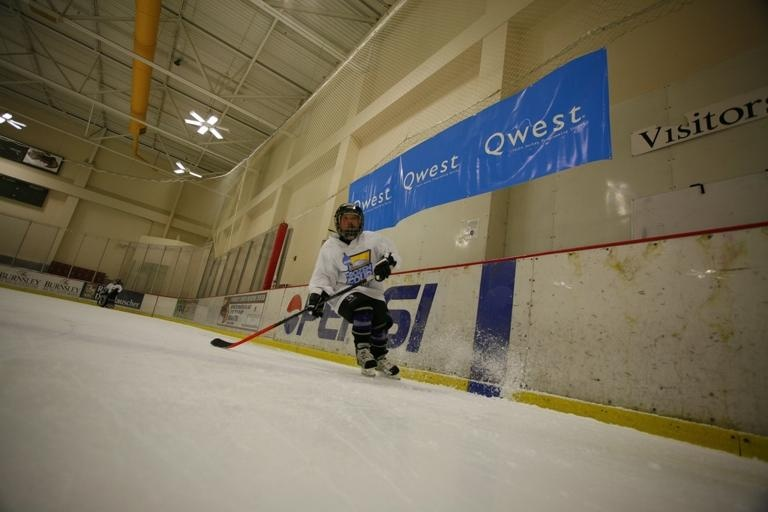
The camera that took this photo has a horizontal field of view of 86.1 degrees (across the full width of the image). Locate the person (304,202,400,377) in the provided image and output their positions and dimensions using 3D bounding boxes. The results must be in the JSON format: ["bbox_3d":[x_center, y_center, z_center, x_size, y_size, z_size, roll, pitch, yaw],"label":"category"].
[{"bbox_3d":[-0.270,0.287,3.857,0.768,1.652,0.927,5,-28,-28],"label":"person"}]

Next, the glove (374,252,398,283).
[{"bbox_3d":[-0.024,0.123,3.795,0.110,0.188,0.256,38,-50,-19],"label":"glove"}]

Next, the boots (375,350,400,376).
[{"bbox_3d":[0.042,1.018,3.797,0.134,0.188,0.401,4,-13,-29],"label":"boots"}]

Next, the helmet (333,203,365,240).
[{"bbox_3d":[-0.333,-0.312,4.076,0.265,0.342,0.341,1,-17,-6],"label":"helmet"}]

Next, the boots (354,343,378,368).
[{"bbox_3d":[-0.154,0.890,3.638,0.095,0.197,0.231,16,-9,-39],"label":"boots"}]

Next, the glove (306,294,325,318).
[{"bbox_3d":[-0.616,0.446,3.785,0.156,0.221,0.206,11,-7,-10],"label":"glove"}]
